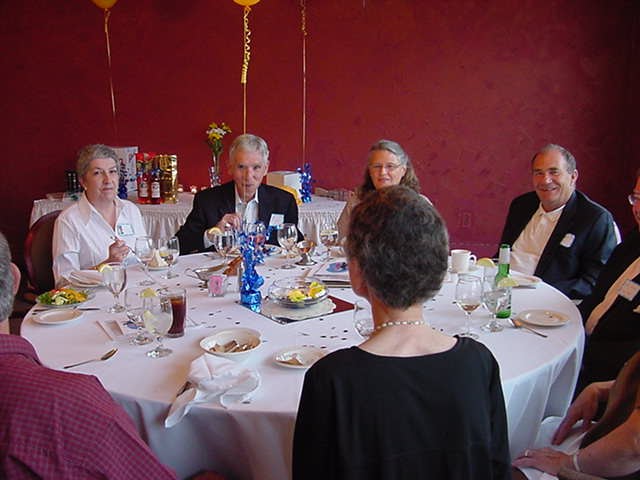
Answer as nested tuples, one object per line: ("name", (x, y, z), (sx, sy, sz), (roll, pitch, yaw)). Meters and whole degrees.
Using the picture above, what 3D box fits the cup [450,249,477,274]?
("cup", (0.749, 0.115, 2.702), (0.162, 0.128, 0.110), (6, 9, 42))

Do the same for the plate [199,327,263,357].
("plate", (-0.314, 0.363, 1.776), (0.109, 0.035, 0.112), (-4, 17, 3))

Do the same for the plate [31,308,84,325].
("plate", (-1.075, 0.310, 2.036), (0.097, 0.012, 0.101), (7, 7, 30))

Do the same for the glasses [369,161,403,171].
("glasses", (0.453, -0.499, 3.387), (0.231, 0.084, 0.086), (2, 14, 5))

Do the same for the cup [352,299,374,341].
("cup", (0.162, 0.295, 1.828), (0.107, 0.126, 0.101), (-1, 4, 0))

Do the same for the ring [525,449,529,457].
("ring", (0.704, 0.723, 1.692), (0.012, 0.007, 0.017), (-1, 7, 25))

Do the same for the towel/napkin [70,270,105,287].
("towel/napkin", (-1.107, 0.174, 2.376), (0.143, 0.069, 0.119), (1, 0, 7))

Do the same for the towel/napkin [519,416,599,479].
("towel/napkin", (0.883, 0.759, 1.829), (0.167, 0.077, 0.183), (-9, 12, 38))

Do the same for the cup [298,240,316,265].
("cup", (-0.075, 0.075, 2.772), (0.111, 0.115, 0.114), (0, 1, 0))

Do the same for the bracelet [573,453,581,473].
("bracelet", (0.821, 0.709, 1.592), (0.012, 0.045, 0.040), (-6, 2, 15))

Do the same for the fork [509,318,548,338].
("fork", (0.807, 0.330, 1.922), (0.035, 0.027, 0.185), (-11, 16, -12))

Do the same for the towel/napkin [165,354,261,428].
("towel/napkin", (-0.319, 0.454, 1.523), (0.193, 0.074, 0.209), (5, 20, -4))

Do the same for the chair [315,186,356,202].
("chair", (0.137, -0.471, 5.137), (0.347, 0.159, 0.264), (5, 8, 36))
